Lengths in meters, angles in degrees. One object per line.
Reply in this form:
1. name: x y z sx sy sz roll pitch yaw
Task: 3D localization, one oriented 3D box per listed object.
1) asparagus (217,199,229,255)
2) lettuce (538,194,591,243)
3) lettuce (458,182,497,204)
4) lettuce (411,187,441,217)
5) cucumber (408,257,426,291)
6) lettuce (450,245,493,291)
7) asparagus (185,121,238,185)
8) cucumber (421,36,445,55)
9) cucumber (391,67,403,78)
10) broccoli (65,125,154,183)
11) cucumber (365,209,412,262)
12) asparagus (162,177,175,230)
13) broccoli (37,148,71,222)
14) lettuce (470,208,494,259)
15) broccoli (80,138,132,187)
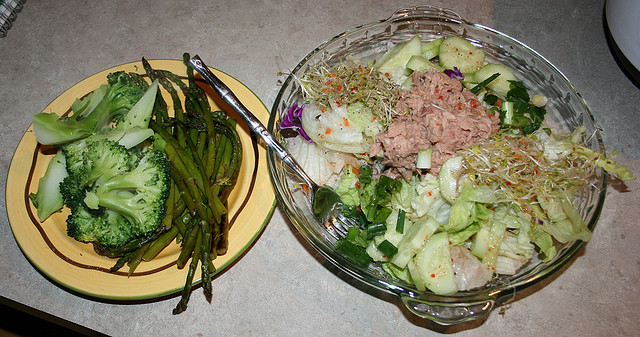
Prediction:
1. asparagus: -0.711 0.475 3.538 0.074 0.077 0.286 0 74 -5
2. lettuce: 1.709 0.358 3.334 0.293 0.125 0.315 36 115 37
3. lettuce: 1.140 0.172 3.477 0.275 0.048 0.135 6 81 2
4. lettuce: 0.788 0.231 3.547 0.241 0.052 0.143 -39 82 -5
5. cucumber: 0.692 0.748 3.432 0.048 0.201 0.185 -22 97 2
6. lettuce: 1.057 0.717 3.425 0.225 0.081 0.324 -23 71 -11
7. asparagus: -0.729 -0.118 3.516 0.381 0.127 0.458 -1 90 -4
8. cucumber: 0.930 -0.971 3.839 0.291 0.083 0.071 -25 111 -8
9. cucumber: 0.590 -0.740 3.723 0.091 0.016 0.083 -1 81 1
10. broccoli: -1.516 -0.172 3.663 0.782 0.295 0.203 -27 91 -12
11. cucumber: 0.430 0.496 3.696 0.454 0.221 0.103 29 64 37
12. asparagus: -1.119 0.275 3.576 0.086 0.062 0.339 8 78 -27
13. broccoli: -2.016 0.124 3.622 0.136 0.318 0.482 22 53 -28
14. lettuce: 1.177 0.489 3.556 0.188 0.089 0.311 17 88 9
15. broccoli: -1.595 -0.045 3.632 0.367 0.146 0.313 -40 86 -6
